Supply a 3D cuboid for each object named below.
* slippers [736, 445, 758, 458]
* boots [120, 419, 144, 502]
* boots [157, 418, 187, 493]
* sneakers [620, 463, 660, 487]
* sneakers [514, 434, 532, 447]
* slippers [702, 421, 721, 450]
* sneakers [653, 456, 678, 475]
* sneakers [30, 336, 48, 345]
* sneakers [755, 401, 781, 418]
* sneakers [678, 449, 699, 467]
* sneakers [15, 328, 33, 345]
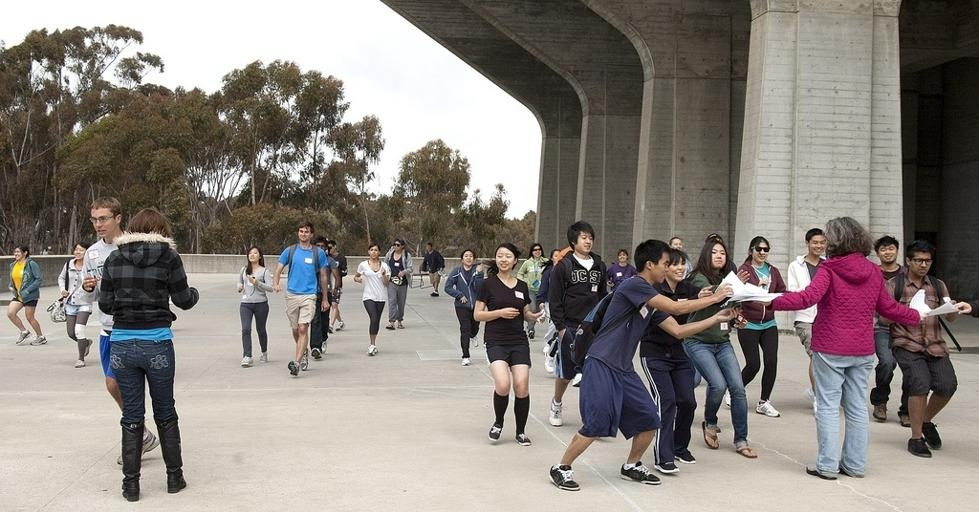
[{"bbox_3d":[4.210,3.214,13.562,0.190,0.097,0.323,-2,2,-18],"label":"slippers"},{"bbox_3d":[-5.374,3.086,12.356,0.303,1.118,0.354,-1,1,-16],"label":"boots"},{"bbox_3d":[-4.826,3.019,12.495,0.391,1.126,0.271,-1,1,-21],"label":"boots"},{"bbox_3d":[2.329,3.398,12.783,0.660,0.262,0.238,3,6,15],"label":"sneakers"},{"bbox_3d":[0.589,3.116,13.890,0.150,0.104,0.281,1,-5,-20],"label":"sneakers"},{"bbox_3d":[3.745,3.044,13.919,0.208,0.121,0.481,-3,26,-1],"label":"slippers"},{"bbox_3d":[2.785,3.321,12.997,0.200,0.175,0.442,0,-8,-18],"label":"sneakers"},{"bbox_3d":[-11.527,2.164,20.899,0.503,0.204,0.190,4,-7,-27],"label":"sneakers"},{"bbox_3d":[5.176,2.830,15.185,0.226,0.183,0.462,-2,4,-38],"label":"sneakers"},{"bbox_3d":[3.206,3.257,13.248,0.171,0.129,0.332,1,-5,-24],"label":"sneakers"},{"bbox_3d":[-11.889,2.071,21.009,0.247,0.254,0.599,-32,12,14],"label":"sneakers"}]
